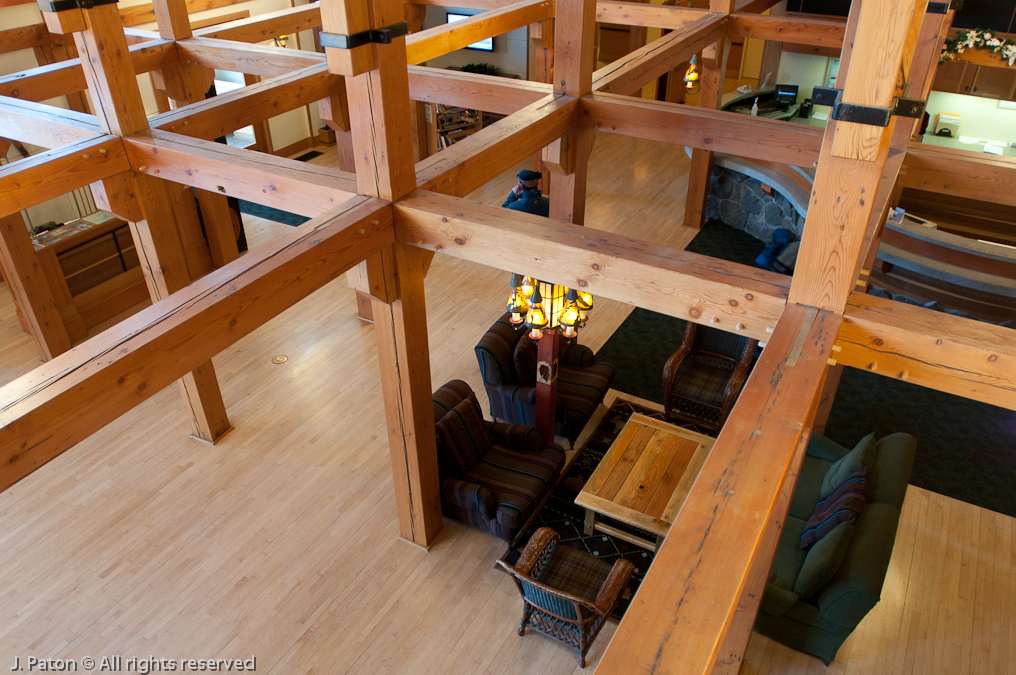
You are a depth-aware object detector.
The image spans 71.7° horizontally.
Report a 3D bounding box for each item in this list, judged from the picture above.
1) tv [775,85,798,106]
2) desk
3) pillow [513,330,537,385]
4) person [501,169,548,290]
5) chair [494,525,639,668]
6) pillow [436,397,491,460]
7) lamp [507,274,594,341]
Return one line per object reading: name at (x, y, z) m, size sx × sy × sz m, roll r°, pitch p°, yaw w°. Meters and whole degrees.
tv at (4.611, -4.010, 11.668) m, size 0.371 × 0.285 × 0.307 m, roll 14°, pitch 37°, yaw 14°
desk at (1.346, 1.499, 7.426) m, size 1.209 × 0.786 × 1.513 m, roll 22°, pitch 56°, yaw 21°
pillow at (0.222, 0.300, 8.176) m, size 0.220 × 0.466 × 0.522 m, roll -1°, pitch 15°, yaw 18°
person at (0.157, -1.219, 6.237) m, size 0.377 × 0.436 × 1.141 m, roll 5°, pitch 35°, yaw 1°
chair at (0.468, 2.248, 6.541) m, size 1.152 × 0.949 × 0.913 m, roll 19°, pitch 39°, yaw 19°
pillow at (-0.473, 1.018, 7.353) m, size 0.228 × 0.588 × 0.579 m, roll -9°, pitch 21°, yaw 33°
lamp at (0.419, -0.237, 6.435) m, size 0.481 × 0.536 × 0.495 m, roll 5°, pitch 5°, yaw 43°
